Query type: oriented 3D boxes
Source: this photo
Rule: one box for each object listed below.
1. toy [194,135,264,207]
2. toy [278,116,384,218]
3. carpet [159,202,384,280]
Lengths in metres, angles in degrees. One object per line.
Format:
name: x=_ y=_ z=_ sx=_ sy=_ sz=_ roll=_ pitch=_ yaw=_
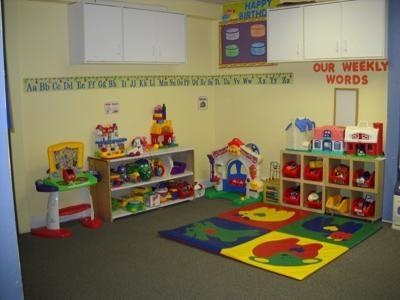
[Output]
toy: x=0.602 y=0.340 z=5.509 sx=1.039 sy=1.051 sz=0.620 roll=7 pitch=12 yaw=38
toy: x=1.971 y=0.280 z=4.623 sx=1.357 sy=1.397 sz=0.453 roll=4 pitch=5 yaw=35
carpet: x=0.966 y=1.059 z=4.179 sx=2.308 sy=0.073 sz=1.836 roll=-10 pitch=14 yaw=-38
